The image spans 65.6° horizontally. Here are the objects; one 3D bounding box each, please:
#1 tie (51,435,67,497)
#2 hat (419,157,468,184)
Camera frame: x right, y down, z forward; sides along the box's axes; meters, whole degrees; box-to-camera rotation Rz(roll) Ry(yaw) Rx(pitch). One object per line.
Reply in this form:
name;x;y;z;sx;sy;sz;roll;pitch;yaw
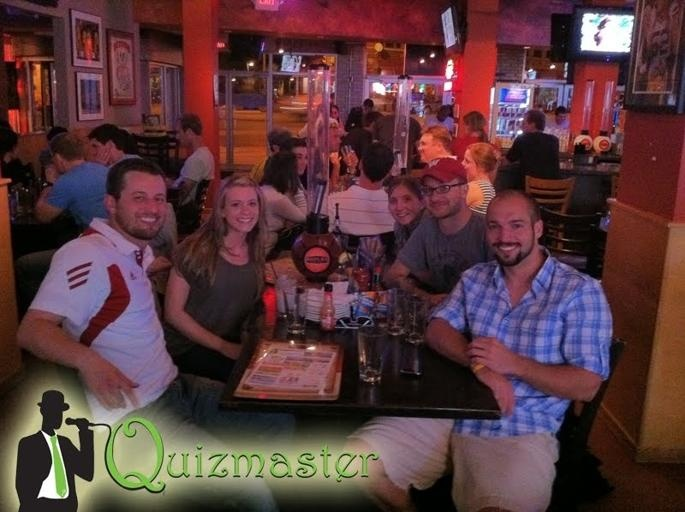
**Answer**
tie;-1.064;0.799;2.017;0.044;0.238;0.074;-8;18;-30
hat;0.602;-0.480;3.034;0.217;0.089;0.155;-5;9;-36
